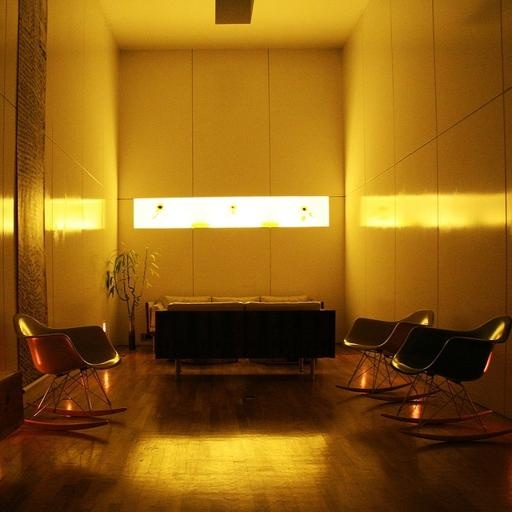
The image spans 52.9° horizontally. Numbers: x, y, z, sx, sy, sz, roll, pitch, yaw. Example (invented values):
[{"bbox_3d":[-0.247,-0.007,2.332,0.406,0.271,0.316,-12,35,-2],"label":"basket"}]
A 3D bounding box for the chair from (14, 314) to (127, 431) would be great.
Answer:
[{"bbox_3d":[-1.609,0.970,4.471,0.737,1.051,0.762,-3,-1,17],"label":"chair"}]

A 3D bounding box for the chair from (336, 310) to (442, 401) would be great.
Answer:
[{"bbox_3d":[1.187,0.929,5.266,0.452,0.517,0.478,-16,16,-32],"label":"chair"}]
